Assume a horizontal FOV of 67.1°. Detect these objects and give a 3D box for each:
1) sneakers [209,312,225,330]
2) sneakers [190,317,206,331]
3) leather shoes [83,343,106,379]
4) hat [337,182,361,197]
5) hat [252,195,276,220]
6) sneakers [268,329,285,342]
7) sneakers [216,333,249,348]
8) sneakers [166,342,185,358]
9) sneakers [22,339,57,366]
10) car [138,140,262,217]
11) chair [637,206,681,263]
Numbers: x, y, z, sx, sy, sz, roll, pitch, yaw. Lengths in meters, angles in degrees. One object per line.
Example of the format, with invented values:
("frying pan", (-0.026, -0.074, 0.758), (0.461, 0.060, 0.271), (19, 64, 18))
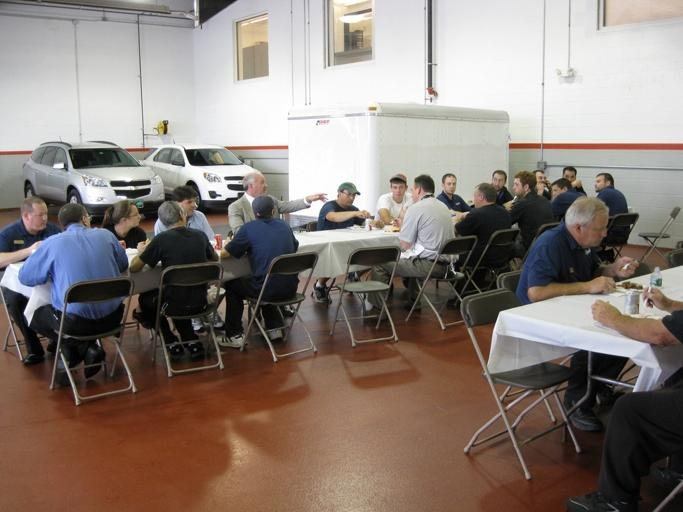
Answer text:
("sneakers", (-1.386, 0.719, 5.712), (0.147, 0.187, 0.475), (-2, -1, -17))
("sneakers", (-1.594, 0.744, 5.698), (0.169, 0.146, 0.115), (10, 11, 22))
("leather shoes", (-2.196, 0.933, 4.569), (0.120, 0.308, 0.111), (31, 23, 29))
("hat", (0.092, -0.904, 6.742), (0.289, 0.151, 0.209), (0, -2, 29))
("hat", (-0.783, -0.501, 5.189), (0.218, 0.288, 0.242), (-4, 35, -9))
("sneakers", (-0.695, 0.845, 5.496), (0.135, 0.145, 0.165), (-4, 3, -26))
("sneakers", (-1.137, 0.874, 5.362), (0.328, 0.153, 0.133), (7, 7, 19))
("sneakers", (-1.624, 0.898, 5.078), (0.145, 0.096, 0.259), (-3, 7, -25))
("sneakers", (-2.908, 0.951, 5.026), (0.146, 0.179, 0.422), (0, -4, 13))
("car", (-4.182, -2.269, 14.988), (2.175, 1.823, 4.141), (-7, 11, -43))
("chair", (5.576, -0.422, 8.961), (0.546, 1.013, 2.232), (7, 15, 30))
